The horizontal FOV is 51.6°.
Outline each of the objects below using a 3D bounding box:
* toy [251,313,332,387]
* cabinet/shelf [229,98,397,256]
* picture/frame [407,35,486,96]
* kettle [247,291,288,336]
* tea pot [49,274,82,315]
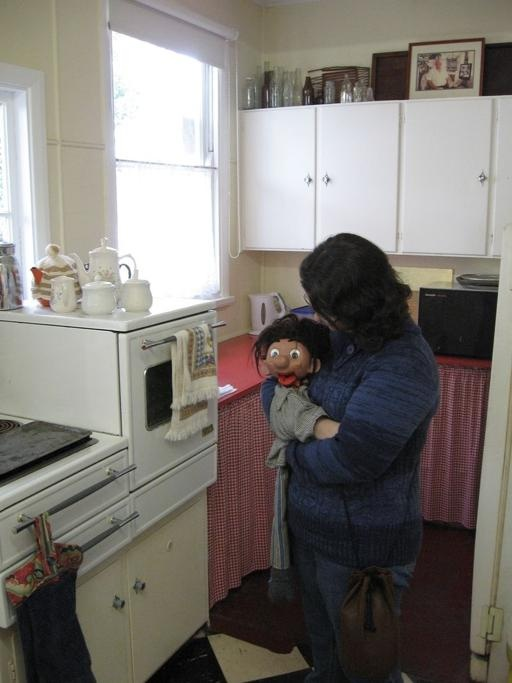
[{"bbox_3d":[0.063,0.003,1.155,0.147,0.194,0.147,4,2,24],"label":"toy"},{"bbox_3d":[0.322,-0.901,2.783,1.046,0.986,0.387,2,7,19],"label":"cabinet/shelf"},{"bbox_3d":[0.955,-1.360,2.647,0.340,0.308,0.016,2,4,20],"label":"picture/frame"},{"bbox_3d":[0.051,-0.168,3.187,0.275,0.296,0.182,-1,9,-10],"label":"kettle"},{"bbox_3d":[-0.497,-0.119,1.371,0.064,0.092,0.058,0,6,0],"label":"tea pot"}]
